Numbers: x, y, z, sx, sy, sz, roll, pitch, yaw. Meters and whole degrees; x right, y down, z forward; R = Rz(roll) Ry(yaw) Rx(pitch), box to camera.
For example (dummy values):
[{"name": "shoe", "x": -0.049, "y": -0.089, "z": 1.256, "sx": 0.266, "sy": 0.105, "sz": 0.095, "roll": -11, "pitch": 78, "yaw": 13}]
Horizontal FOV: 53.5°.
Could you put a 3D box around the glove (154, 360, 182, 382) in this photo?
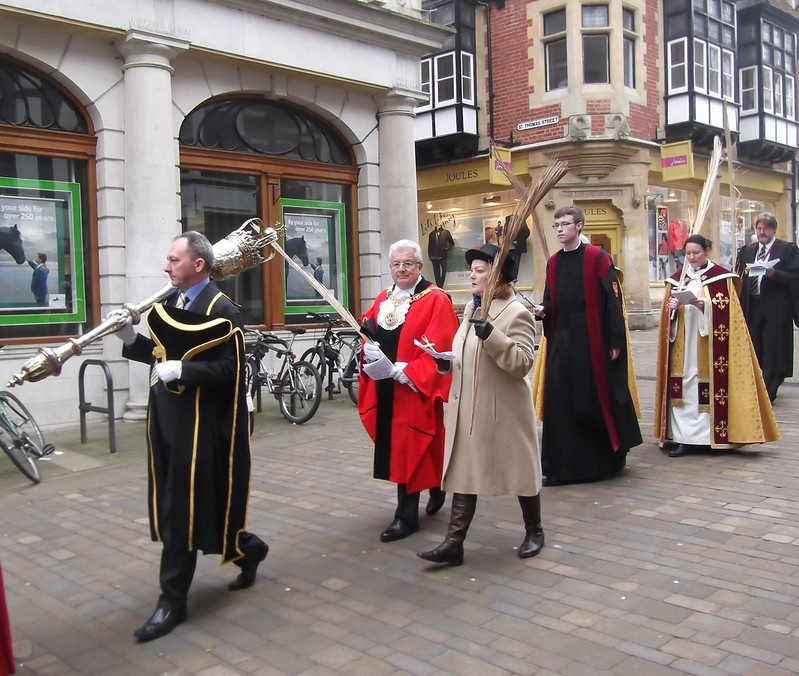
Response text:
[{"name": "glove", "x": -1.207, "y": 0.176, "z": 4.150, "sx": 0.133, "sy": 0.122, "sz": 0.189, "roll": -5, "pitch": 8, "yaw": -20}]

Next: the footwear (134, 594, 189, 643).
[{"name": "footwear", "x": -1.244, "y": 1.476, "z": 4.147, "sx": 0.124, "sy": 0.158, "sz": 0.365, "roll": 1, "pitch": -5, "yaw": 19}]

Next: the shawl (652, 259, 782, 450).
[{"name": "shawl", "x": 3.016, "y": 0.146, "z": 7.573, "sx": 1.073, "sy": 1.704, "sz": 0.674, "roll": 0, "pitch": 8, "yaw": 23}]

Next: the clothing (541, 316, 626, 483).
[{"name": "clothing", "x": 1.534, "y": 0.589, "z": 6.685, "sx": 0.663, "sy": 1.213, "sz": 0.504, "roll": -1, "pitch": 8, "yaw": 11}]

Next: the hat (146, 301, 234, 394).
[{"name": "hat", "x": -1.104, "y": 0.054, "z": 4.244, "sx": 0.423, "sy": 0.381, "sz": 0.237, "roll": 16, "pitch": 21, "yaw": 14}]

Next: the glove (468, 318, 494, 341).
[{"name": "glove", "x": 0.494, "y": -0.052, "z": 4.643, "sx": 0.125, "sy": 0.137, "sz": 0.132, "roll": -2, "pitch": 7, "yaw": 4}]

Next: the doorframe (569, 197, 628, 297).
[{"name": "doorframe", "x": 5.229, "y": -2.635, "z": 20.825, "sx": 1.384, "sy": 2.286, "sz": 0.249, "roll": 1, "pitch": 38, "yaw": 20}]

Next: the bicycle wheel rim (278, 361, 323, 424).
[{"name": "bicycle wheel rim", "x": -1.235, "y": 0.644, "z": 9.619, "sx": 0.402, "sy": 0.696, "sz": 0.776, "roll": -8, "pitch": 9, "yaw": -33}]

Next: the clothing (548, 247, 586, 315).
[{"name": "clothing", "x": 1.526, "y": -0.528, "z": 6.951, "sx": 0.327, "sy": 0.526, "sz": 0.419, "roll": -3, "pitch": -5, "yaw": -28}]

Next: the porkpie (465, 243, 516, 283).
[{"name": "porkpie", "x": 0.579, "y": -0.474, "z": 5.014, "sx": 0.295, "sy": 0.251, "sz": 0.533, "roll": -2, "pitch": 7, "yaw": 5}]

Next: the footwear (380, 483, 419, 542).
[{"name": "footwear", "x": 0.003, "y": 1.221, "z": 5.481, "sx": 0.161, "sy": 0.323, "sz": 0.370, "roll": 9, "pitch": 16, "yaw": 36}]

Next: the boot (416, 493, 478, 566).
[{"name": "boot", "x": 0.289, "y": 1.184, "z": 4.877, "sx": 0.382, "sy": 0.456, "sz": 0.213, "roll": -4, "pitch": 7, "yaw": -7}]
